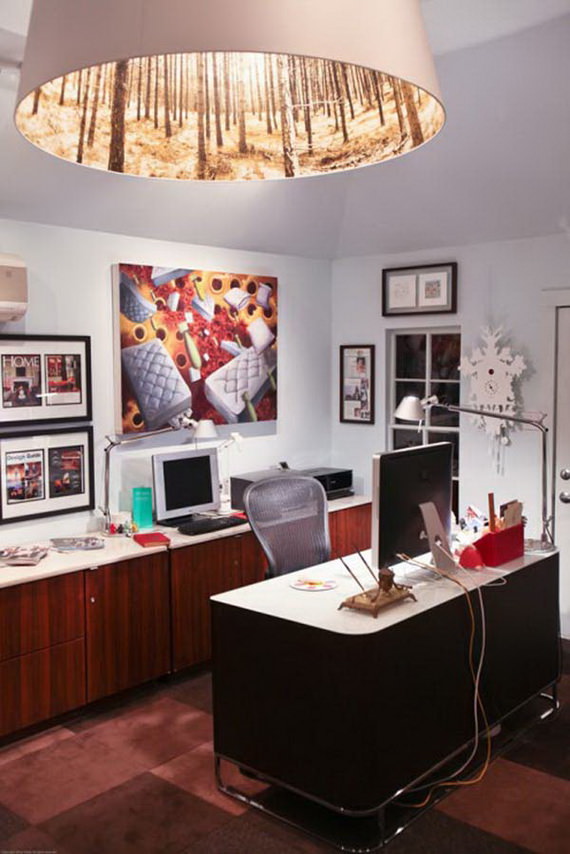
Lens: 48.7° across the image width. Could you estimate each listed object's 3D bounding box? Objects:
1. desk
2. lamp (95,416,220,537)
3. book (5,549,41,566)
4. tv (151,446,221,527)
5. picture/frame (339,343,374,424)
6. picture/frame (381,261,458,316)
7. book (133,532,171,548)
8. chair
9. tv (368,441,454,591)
[{"bbox_3d":[0.317,0.744,2.616,0.863,0.908,1.768,3,5,39],"label":"desk"},{"bbox_3d":[-0.840,0.290,4.121,0.496,0.776,0.962,2,3,38],"label":"lamp"},{"bbox_3d":[-1.337,0.670,3.180,0.211,0.040,0.197,-1,2,0],"label":"book"},{"bbox_3d":[-0.646,0.397,4.018,0.139,0.412,0.440,-8,-7,40],"label":"tv"},{"bbox_3d":[0.595,-0.339,5.162,0.075,0.638,0.342,-2,2,-45],"label":"picture/frame"},{"bbox_3d":[1.035,-1.034,4.710,0.425,0.281,0.043,7,11,42],"label":"picture/frame"},{"bbox_3d":[-0.734,0.637,3.516,0.105,0.026,0.103,-2,7,-43],"label":"book"},{"bbox_3d":[0.027,0.500,3.457,0.394,0.713,0.513,-7,7,-31],"label":"chair"},{"bbox_3d":[0.540,0.396,2.641,0.162,0.466,0.516,7,10,36],"label":"tv"}]
